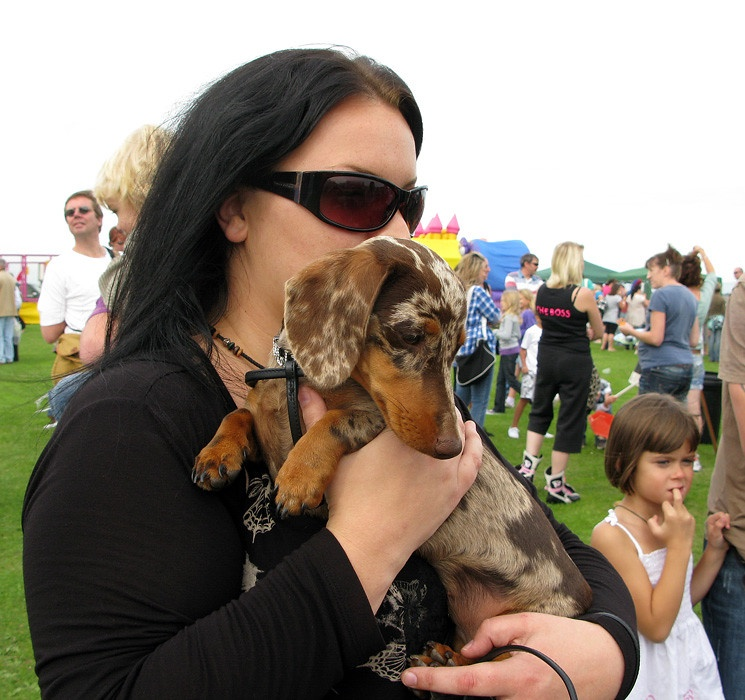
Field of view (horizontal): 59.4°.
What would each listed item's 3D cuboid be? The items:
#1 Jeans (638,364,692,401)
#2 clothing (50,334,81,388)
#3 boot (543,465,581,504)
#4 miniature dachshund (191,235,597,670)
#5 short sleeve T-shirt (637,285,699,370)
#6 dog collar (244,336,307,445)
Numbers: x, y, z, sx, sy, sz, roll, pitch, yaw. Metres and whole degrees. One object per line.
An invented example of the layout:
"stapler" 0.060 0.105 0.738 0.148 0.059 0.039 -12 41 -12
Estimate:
"Jeans" 3.195 0.331 7.065 0.422 0.554 0.336 4 0 1
"clothing" -2.219 0.049 4.743 0.208 0.455 0.376 6 -10 -30
"boot" 1.843 1.326 6.594 0.476 0.435 0.219 -4 24 -1
"miniature dachshund" -0.009 0.124 2.092 0.872 0.764 1.383 16 13 -48
"short sleeve T-shirt" 3.460 -0.251 7.523 0.604 0.974 0.467 7 3 13
"dog collar" -0.243 0.108 1.814 0.195 0.255 0.132 -4 -2 38
